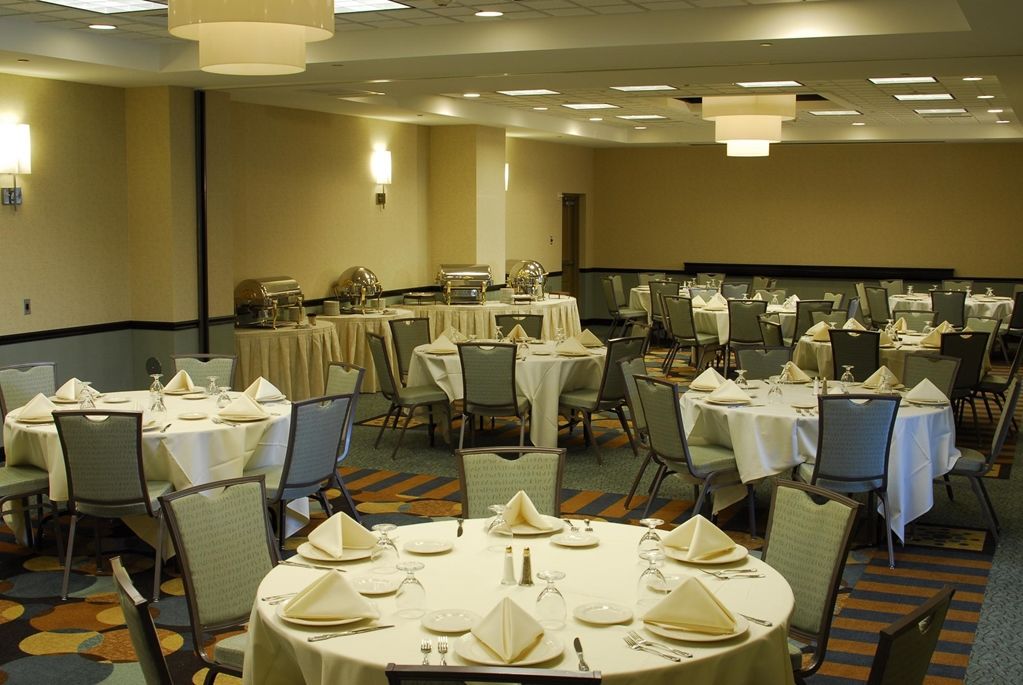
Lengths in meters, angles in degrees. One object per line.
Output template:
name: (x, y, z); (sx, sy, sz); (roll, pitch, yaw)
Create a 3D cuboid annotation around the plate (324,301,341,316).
plate: (-2.387, -0.467, 9.934); (0.191, 0.143, 0.190); (-1, 5, -15)

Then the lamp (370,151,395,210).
lamp: (-1.914, -2.529, 11.277); (0.237, 0.924, 0.461); (0, 7, 24)

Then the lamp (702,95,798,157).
lamp: (2.956, -2.794, 9.492); (0.920, 0.670, 0.908); (-2, 2, -28)

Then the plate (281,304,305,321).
plate: (-2.690, -0.370, 9.159); (0.166, 0.192, 0.222); (1, -5, -8)

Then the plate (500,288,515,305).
plate: (-0.078, -0.731, 11.656); (0.229, 0.244, 0.234); (5, 6, 38)
